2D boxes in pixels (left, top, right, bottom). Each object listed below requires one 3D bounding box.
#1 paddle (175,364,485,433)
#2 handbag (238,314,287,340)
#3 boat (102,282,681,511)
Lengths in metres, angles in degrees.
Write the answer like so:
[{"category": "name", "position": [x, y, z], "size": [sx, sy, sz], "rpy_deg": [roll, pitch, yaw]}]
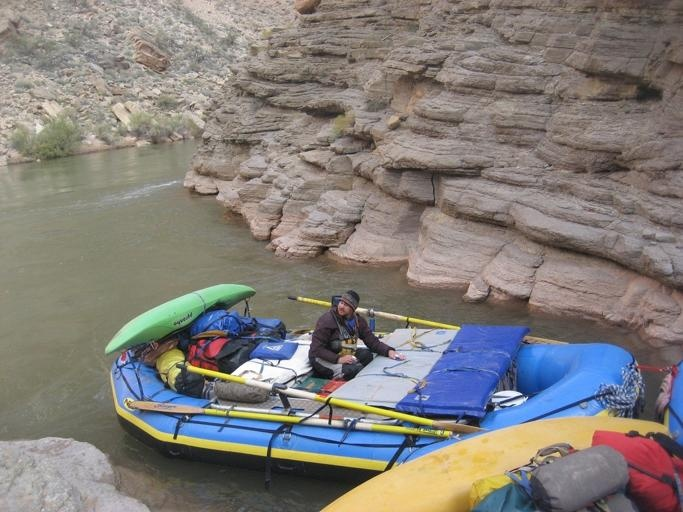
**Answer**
[{"category": "paddle", "position": [-0.091, 2.245, 9.844], "size": [4.415, 0.387, 0.349], "rpy_deg": [8, 26, 13]}, {"category": "handbag", "position": [-1.425, 1.323, 12.040], "size": [0.738, 0.156, 0.549], "rpy_deg": [3, 5, 0]}, {"category": "boat", "position": [-0.197, 2.206, 10.465], "size": [8.284, 1.181, 3.571], "rpy_deg": [0, 17, 21]}]
